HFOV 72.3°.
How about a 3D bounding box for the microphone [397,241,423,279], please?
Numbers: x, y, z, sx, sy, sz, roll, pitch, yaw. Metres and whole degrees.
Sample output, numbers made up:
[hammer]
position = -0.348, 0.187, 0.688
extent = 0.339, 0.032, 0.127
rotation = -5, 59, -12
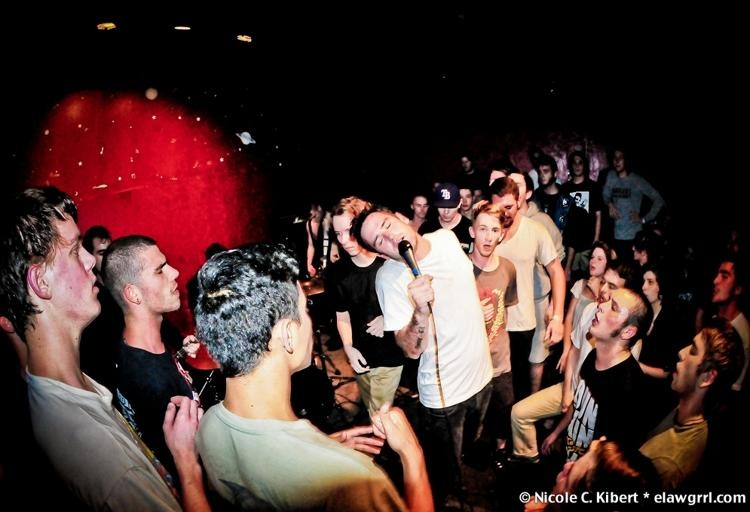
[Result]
[microphone]
position = 0.255, 0.003, 3.904
extent = 0.104, 0.371, 0.112
rotation = -30, -9, 15

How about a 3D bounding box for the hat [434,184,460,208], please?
[hat]
position = 0.863, -0.704, 6.181
extent = 0.239, 0.163, 0.315
rotation = -1, 24, 18

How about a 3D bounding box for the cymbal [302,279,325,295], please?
[cymbal]
position = -0.741, 0.374, 6.185
extent = 0.194, 0.052, 0.206
rotation = -8, 26, -24
